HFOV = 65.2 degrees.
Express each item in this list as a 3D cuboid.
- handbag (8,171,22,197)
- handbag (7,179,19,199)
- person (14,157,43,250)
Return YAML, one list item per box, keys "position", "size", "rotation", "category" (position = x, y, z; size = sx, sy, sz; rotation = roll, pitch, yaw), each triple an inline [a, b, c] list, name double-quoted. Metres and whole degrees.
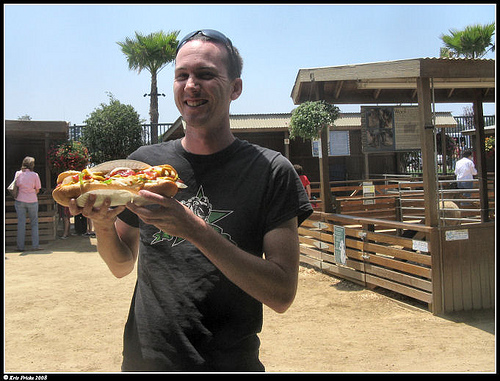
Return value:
- position: [-6.698, -0.198, 11.256]
  size: [0.170, 0.586, 0.511]
  rotation: [10, -1, -9]
  category: "handbag"
- position: [-6.842, -0.046, 11.312]
  size: [0.440, 0.569, 0.181]
  rotation: [2, 4, 45]
  category: "handbag"
- position: [-6.551, 0.384, 11.601]
  size: [0.748, 2.694, 0.778]
  rotation: [1, 2, -16]
  category: "person"
